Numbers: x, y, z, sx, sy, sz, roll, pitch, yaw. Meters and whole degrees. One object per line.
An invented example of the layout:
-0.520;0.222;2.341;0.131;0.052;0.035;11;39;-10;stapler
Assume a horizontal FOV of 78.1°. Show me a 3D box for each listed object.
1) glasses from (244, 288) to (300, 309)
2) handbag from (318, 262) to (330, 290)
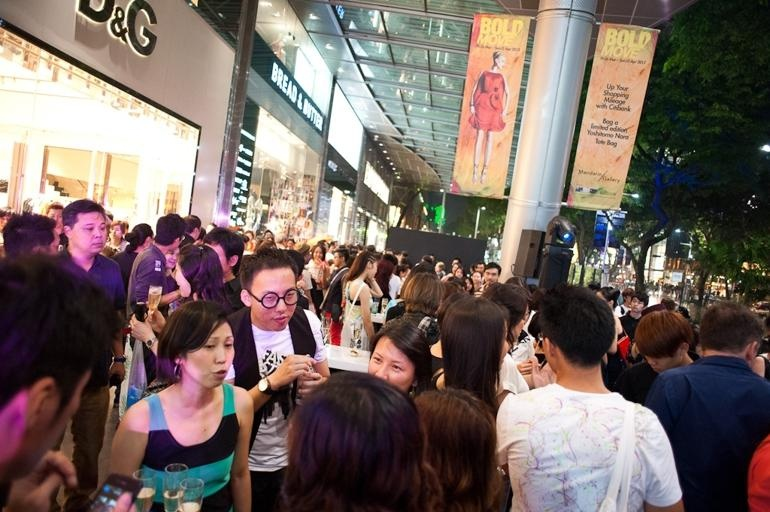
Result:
-0.704;0.259;2.988;0.290;0.125;0.115;6;0;-16;glasses
-1.199;0.377;8.872;0.135;0.476;0.330;2;9;11;handbag
